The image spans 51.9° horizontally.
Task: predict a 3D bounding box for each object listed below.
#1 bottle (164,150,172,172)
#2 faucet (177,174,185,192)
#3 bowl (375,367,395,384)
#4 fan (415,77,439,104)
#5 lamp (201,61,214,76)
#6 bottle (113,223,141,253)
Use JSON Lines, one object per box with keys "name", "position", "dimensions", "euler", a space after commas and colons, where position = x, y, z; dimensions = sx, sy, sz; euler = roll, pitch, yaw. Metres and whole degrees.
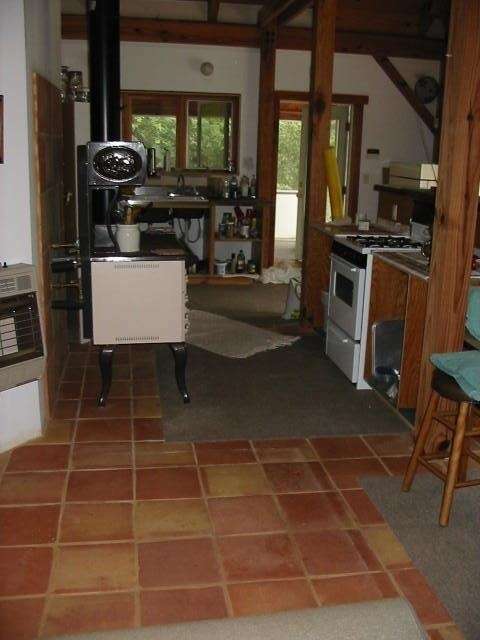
{"name": "bottle", "position": [-0.976, -2.189, 6.730], "dimensions": [0.122, 0.279, 0.097], "euler": [-1, 7, -18]}
{"name": "faucet", "position": [-0.799, -1.861, 6.662], "dimensions": [0.094, 0.262, 0.286], "euler": [0, 7, -7]}
{"name": "bowl", "position": [0.875, 0.323, 2.973], "dimensions": [0.089, 0.071, 0.095], "euler": [-1, 11, 0]}
{"name": "fan", "position": [2.622, -3.278, 6.961], "dimensions": [0.338, 0.377, 0.086], "euler": [-2, 9, -14]}
{"name": "lamp", "position": [-0.431, -3.294, 6.430], "dimensions": [0.183, 0.175, 0.089], "euler": [0, 6, -10]}
{"name": "bottle", "position": [-0.604, -0.455, 2.674], "dimensions": [0.137, 0.149, 0.143], "euler": [-9, 23, -28]}
